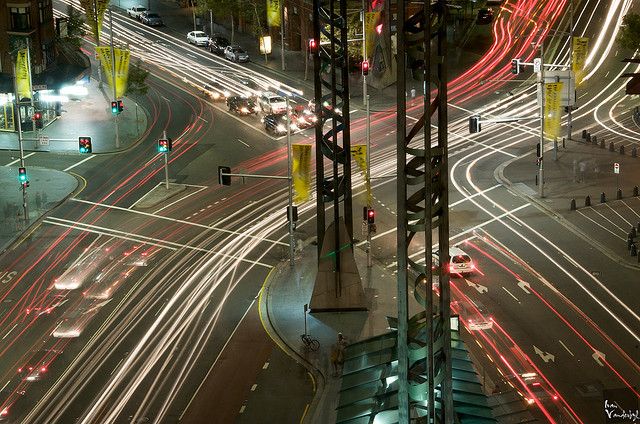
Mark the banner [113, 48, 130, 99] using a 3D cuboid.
[{"bbox_3d":[-23.677,-16.565,76.581,2.131,5.446,1.479,1,14,25],"label":"banner"}]

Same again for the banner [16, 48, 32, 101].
[{"bbox_3d":[-32.252,-15.129,69.670,1.515,4.957,0.860,-6,12,-8],"label":"banner"}]

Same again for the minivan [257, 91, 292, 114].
[{"bbox_3d":[-5.879,-14.017,83.773,2.902,2.496,6.220,-20,28,-27],"label":"minivan"}]

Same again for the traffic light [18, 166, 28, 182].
[{"bbox_3d":[-27.628,-3.559,59.680,0.635,1.304,1.272,-12,14,-30],"label":"traffic light"}]

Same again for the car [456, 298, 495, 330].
[{"bbox_3d":[10.477,6.779,43.164,1.975,0.836,3.586,-4,13,2],"label":"car"}]

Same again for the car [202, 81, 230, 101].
[{"bbox_3d":[-14.660,-17.088,90.570,4.217,2.570,2.116,7,17,42],"label":"car"}]

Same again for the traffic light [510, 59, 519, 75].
[{"bbox_3d":[19.823,-14.723,64.961,0.664,1.347,2.115,0,13,19],"label":"traffic light"}]

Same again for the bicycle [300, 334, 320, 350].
[{"bbox_3d":[-0.604,8.392,41.459,1.288,0.806,0.638,13,-9,-32],"label":"bicycle"}]

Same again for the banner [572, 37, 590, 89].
[{"bbox_3d":[29.975,-17.483,73.721,2.081,6.312,0.251,4,-14,6],"label":"banner"}]

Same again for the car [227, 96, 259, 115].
[{"bbox_3d":[-10.128,-14.013,84.964,3.785,2.414,1.444,-2,13,12],"label":"car"}]

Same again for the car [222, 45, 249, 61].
[{"bbox_3d":[-13.475,-25.537,103.194,2.422,1.888,4.202,-17,26,-30],"label":"car"}]

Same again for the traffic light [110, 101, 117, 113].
[{"bbox_3d":[-22.910,-11.694,71.634,0.601,1.194,1.227,-7,13,-13],"label":"traffic light"}]

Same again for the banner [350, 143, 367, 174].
[{"bbox_3d":[3.152,-4.304,50.817,1.123,2.245,3.788,-4,13,4],"label":"banner"}]

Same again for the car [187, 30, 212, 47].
[{"bbox_3d":[-20.549,-29.639,109.911,5.082,2.860,1.651,5,15,36],"label":"car"}]

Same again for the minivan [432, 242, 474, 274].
[{"bbox_3d":[8.745,3.026,41.679,1.873,1.516,3.253,-8,28,-14],"label":"minivan"}]

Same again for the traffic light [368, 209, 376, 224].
[{"bbox_3d":[3.968,0.361,49.604,0.533,1.276,0.415,-10,14,-24],"label":"traffic light"}]
